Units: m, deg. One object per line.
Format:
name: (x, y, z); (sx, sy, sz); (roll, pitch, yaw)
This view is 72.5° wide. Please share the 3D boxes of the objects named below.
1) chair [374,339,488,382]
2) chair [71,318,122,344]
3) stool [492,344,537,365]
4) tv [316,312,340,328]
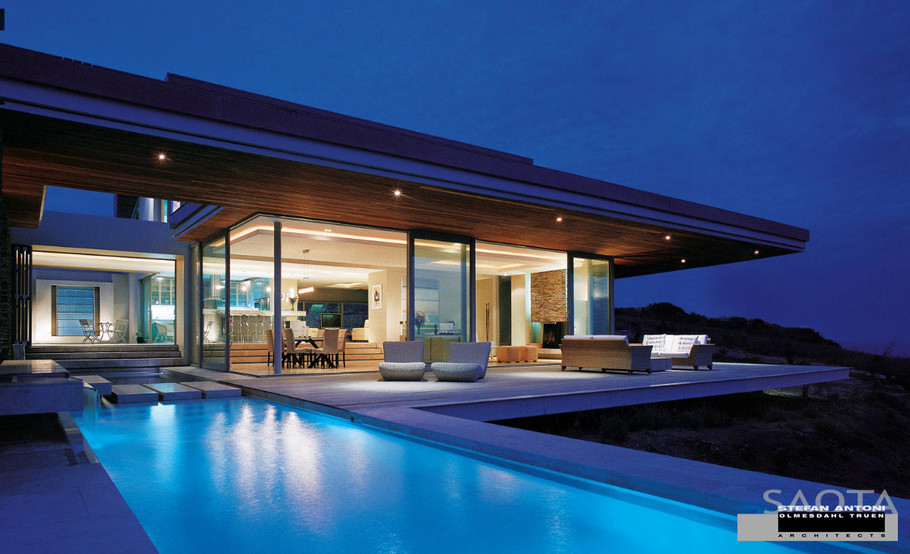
chair: (-0.456, 1.781, 13.312); (2.268, 0.800, 1.075); (0, 3, 7)
chair: (-13.338, 2.036, 23.199); (1.632, 0.818, 1.023); (-1, -2, -3)
stool: (1.821, 2.370, 18.769); (1.538, 0.559, 0.463); (-2, 4, -38)
tv: (-5.394, 1.876, 26.102); (0.880, 0.567, 1.734); (0, 3, -8)
